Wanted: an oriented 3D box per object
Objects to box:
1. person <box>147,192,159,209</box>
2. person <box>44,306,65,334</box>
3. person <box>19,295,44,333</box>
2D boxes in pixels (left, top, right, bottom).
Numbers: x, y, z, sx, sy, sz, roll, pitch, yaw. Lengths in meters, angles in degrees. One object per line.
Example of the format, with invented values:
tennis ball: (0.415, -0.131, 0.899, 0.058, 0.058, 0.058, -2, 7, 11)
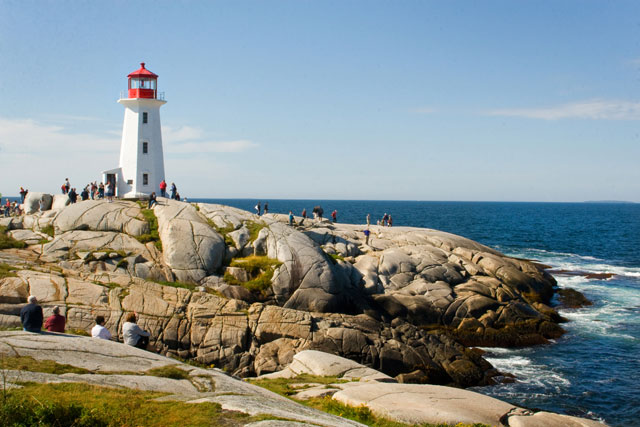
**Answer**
person: (-13.708, -1.034, 48.086, 0.647, 1.040, 1.546, 2, 1, -16)
person: (-13.638, 5.465, 30.118, 0.875, 1.030, 0.974, 2, 1, -25)
person: (-14.298, 5.384, 29.254, 0.996, 2.593, 0.778, 5, 17, -7)
